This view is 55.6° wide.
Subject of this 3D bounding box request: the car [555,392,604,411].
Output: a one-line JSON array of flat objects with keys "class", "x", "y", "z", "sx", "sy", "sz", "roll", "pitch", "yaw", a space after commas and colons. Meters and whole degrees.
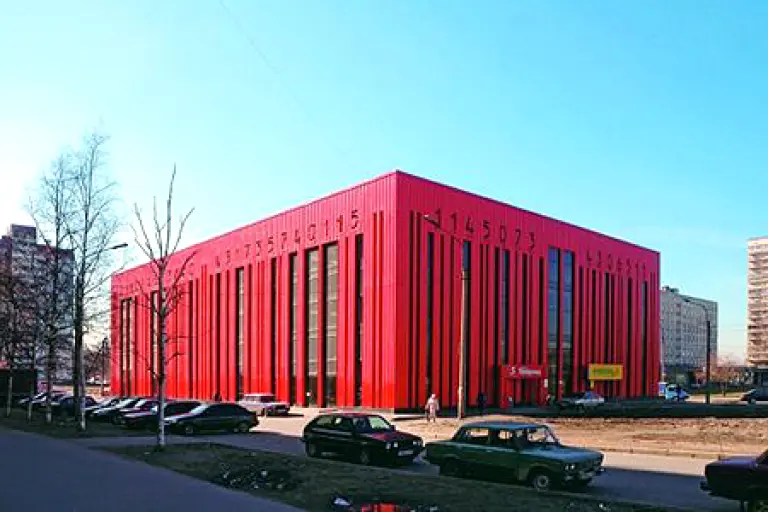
[{"class": "car", "x": 16.353, "y": 12.179, "z": 61.008, "sx": 3.539, "sy": 1.045, "sz": 1.593, "roll": 8, "pitch": -10, "yaw": -38}]
